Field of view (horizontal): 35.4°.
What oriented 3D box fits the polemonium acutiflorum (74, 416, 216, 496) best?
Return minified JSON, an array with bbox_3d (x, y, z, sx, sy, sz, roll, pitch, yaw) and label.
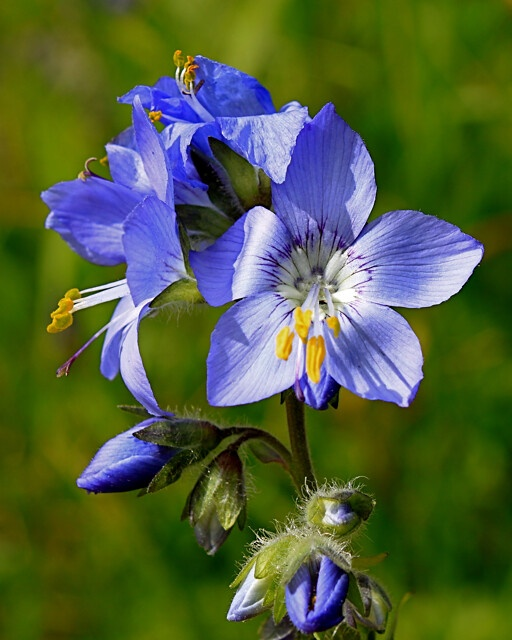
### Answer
[{"bbox_3d":[-0.412,0.494,2.990,0.454,0.169,0.199,-26,29,-13],"label":"polemonium acutiflorum"}]
